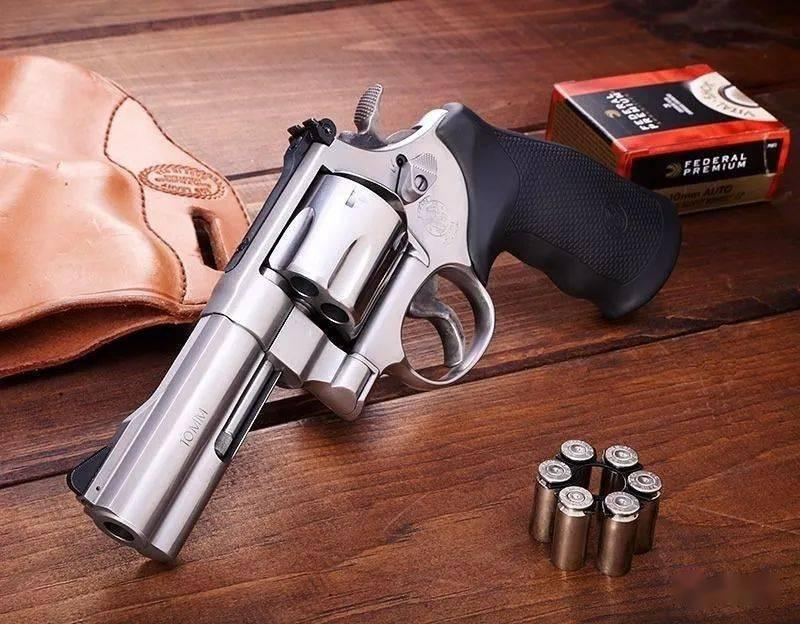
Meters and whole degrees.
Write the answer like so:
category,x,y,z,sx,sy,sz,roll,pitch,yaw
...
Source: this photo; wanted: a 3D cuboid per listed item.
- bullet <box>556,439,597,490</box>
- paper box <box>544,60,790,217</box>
category,x,y,z,sx,sy,sz,roll,pitch,yaw
bullet,0.214,0.187,0.965,0.048,0.068,0.037,-17,68,2
paper box,0.490,-0.285,1.482,0.346,0.162,0.309,-15,51,-21
